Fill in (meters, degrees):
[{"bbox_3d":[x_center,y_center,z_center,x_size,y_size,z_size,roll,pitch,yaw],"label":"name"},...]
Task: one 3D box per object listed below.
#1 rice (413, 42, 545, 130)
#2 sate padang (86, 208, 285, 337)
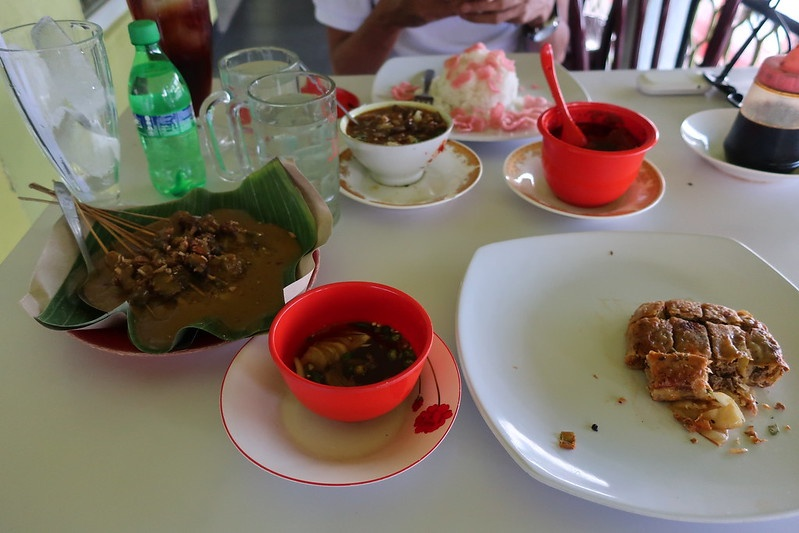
[{"bbox_3d":[0.224,-0.455,1.700,0.266,0.106,0.270,2,53,-12],"label":"rice"},{"bbox_3d":[-0.358,0.021,1.229,0.272,0.040,0.275,29,51,14],"label":"sate padang"}]
